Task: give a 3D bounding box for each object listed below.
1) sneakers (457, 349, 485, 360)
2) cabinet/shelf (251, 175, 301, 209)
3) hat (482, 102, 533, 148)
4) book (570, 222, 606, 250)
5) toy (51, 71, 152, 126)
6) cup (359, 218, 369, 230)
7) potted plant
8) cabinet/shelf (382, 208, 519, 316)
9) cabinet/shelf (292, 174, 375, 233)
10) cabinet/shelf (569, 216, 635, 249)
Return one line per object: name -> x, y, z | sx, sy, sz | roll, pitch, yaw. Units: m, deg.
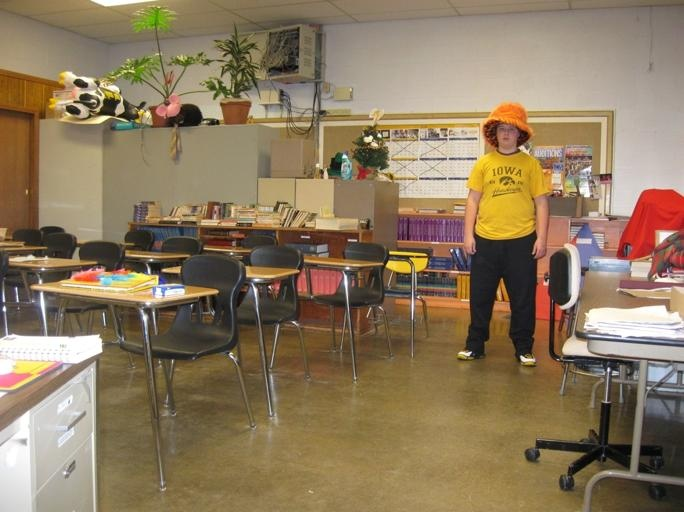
sneakers -> 1.157, 0.891, 5.126 | 0.264, 0.110, 0.087 | 3, -3, -23
cabinet/shelf -> -0.780, -0.781, 6.889 | 0.511, 0.432, 0.163 | 2, 2, 29
hat -> 1.388, -1.128, 4.733 | 0.395, 0.381, 0.475 | 7, 10, 36
book -> 3.045, -0.295, 6.961 | 0.391, 0.367, 0.104 | 0, -13, -1
toy -> -3.137, -2.128, 7.643 | 1.232, 0.545, 0.686 | 11, -4, -42
cup -> 0.254, -0.357, 6.217 | 0.093, 0.092, 0.119 | -1, -4, 35
potted plant -> -1.581, -2.646, 8.220 | 0.864, 1.635, 2.611 | -1, 8, -13
cabinet/shelf -> 1.217, 0.101, 6.328 | 1.552, 1.010, 0.499 | 1, -1, 21
cabinet/shelf -> -0.070, -0.583, 6.441 | 0.774, 0.658, 0.250 | 1, 2, 35
cabinet/shelf -> 3.208, -0.332, 6.986 | 0.829, 0.369, 0.421 | 2, 6, 25
